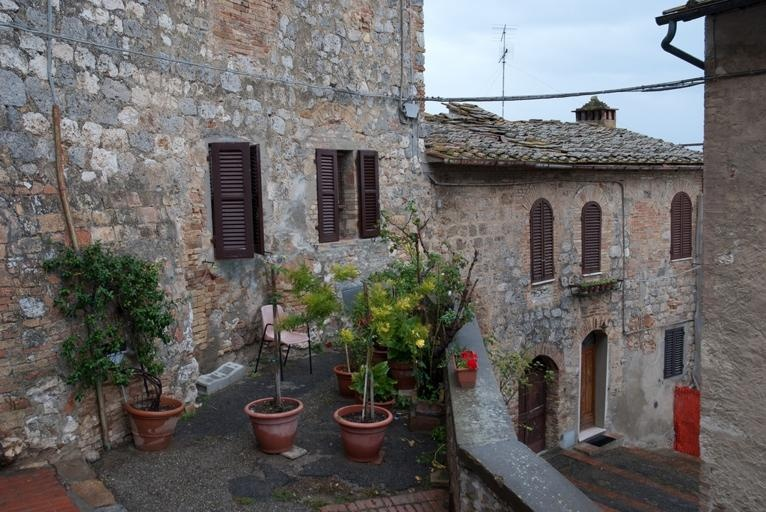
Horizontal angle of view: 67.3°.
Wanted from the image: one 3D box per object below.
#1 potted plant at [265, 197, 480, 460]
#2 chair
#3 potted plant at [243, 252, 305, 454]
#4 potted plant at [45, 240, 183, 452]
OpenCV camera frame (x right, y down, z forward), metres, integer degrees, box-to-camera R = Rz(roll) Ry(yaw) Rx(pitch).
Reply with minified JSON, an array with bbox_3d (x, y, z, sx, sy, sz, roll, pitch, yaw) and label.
[{"bbox_3d":[0.304,0.608,8.210,2.991,3.620,3.207,1,-12,2],"label":"potted plant"},{"bbox_3d":[-1.463,1.227,8.537,0.651,0.950,0.595,4,6,40],"label":"chair"},{"bbox_3d":[-1.356,1.111,7.119,0.679,2.128,1.794,-3,5,-9],"label":"potted plant"},{"bbox_3d":[-3.085,0.957,6.510,1.190,2.220,0.418,-5,6,-33],"label":"potted plant"}]
